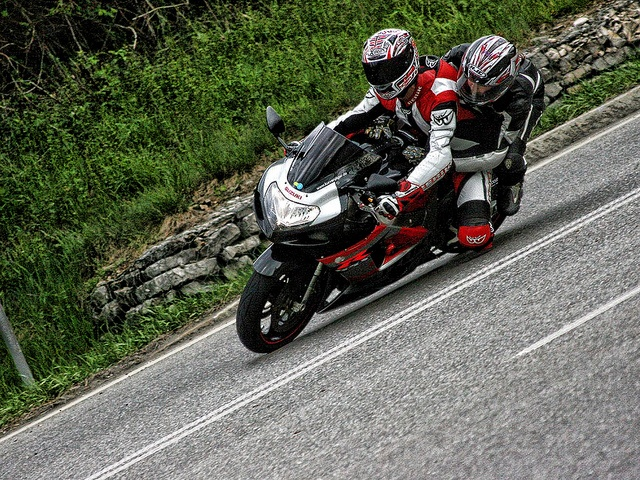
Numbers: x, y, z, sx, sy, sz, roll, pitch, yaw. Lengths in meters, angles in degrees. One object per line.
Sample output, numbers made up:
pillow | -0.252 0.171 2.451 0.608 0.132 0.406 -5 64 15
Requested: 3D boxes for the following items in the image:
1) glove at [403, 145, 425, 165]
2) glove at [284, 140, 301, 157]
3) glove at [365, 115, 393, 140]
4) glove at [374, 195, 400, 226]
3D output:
glove | 1.087 -1.001 6.503 0.051 0.229 0.205 77 -143 -74
glove | -0.303 -1.068 6.495 0.163 0.128 0.274 -25 7 27
glove | 0.712 -1.329 6.640 0.314 0.264 0.146 -56 -17 -12
glove | 0.705 -0.362 6.221 0.294 0.267 0.321 -63 11 16
